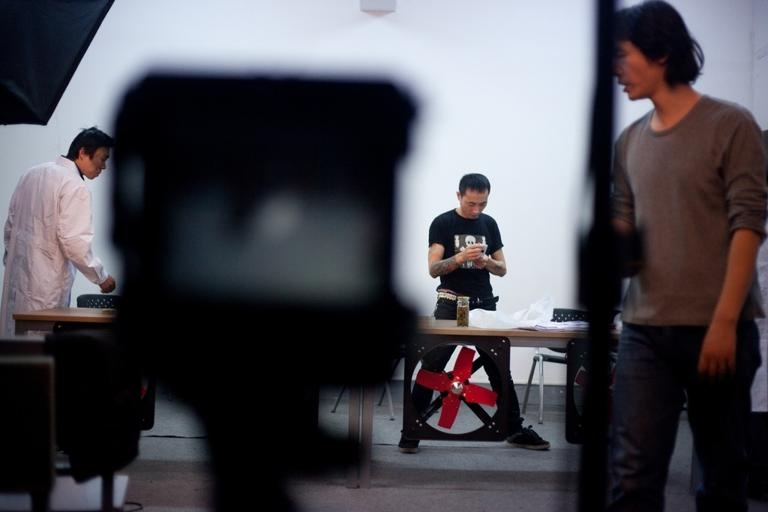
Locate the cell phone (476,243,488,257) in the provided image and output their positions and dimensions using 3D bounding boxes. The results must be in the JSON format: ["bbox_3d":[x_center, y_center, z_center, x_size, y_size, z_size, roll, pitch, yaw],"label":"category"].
[{"bbox_3d":[0.623,-0.038,4.632,0.083,0.094,0.088,0,4,4],"label":"cell phone"}]

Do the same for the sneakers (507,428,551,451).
[{"bbox_3d":[1.001,1.264,5.090,0.279,0.119,0.123,-3,-5,36],"label":"sneakers"}]
